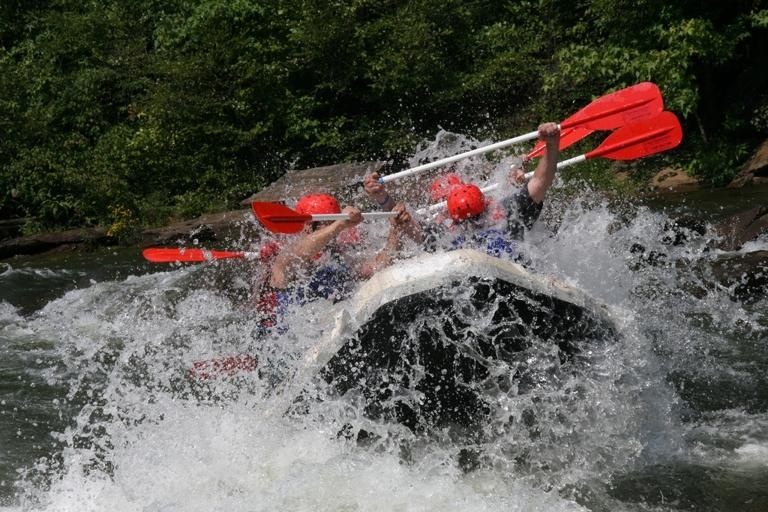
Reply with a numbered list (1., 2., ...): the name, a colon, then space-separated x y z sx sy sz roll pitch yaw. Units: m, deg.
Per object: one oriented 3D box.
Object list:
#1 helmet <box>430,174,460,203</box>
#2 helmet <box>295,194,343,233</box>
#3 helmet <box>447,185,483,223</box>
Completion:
1. helmet: 0.838 -1.004 12.192 0.356 0.381 0.455 5 45 11
2. helmet: -0.888 -0.614 12.077 0.564 0.457 0.462 -10 92 -13
3. helmet: 1.076 -0.754 11.864 0.448 0.455 0.477 -21 96 0
